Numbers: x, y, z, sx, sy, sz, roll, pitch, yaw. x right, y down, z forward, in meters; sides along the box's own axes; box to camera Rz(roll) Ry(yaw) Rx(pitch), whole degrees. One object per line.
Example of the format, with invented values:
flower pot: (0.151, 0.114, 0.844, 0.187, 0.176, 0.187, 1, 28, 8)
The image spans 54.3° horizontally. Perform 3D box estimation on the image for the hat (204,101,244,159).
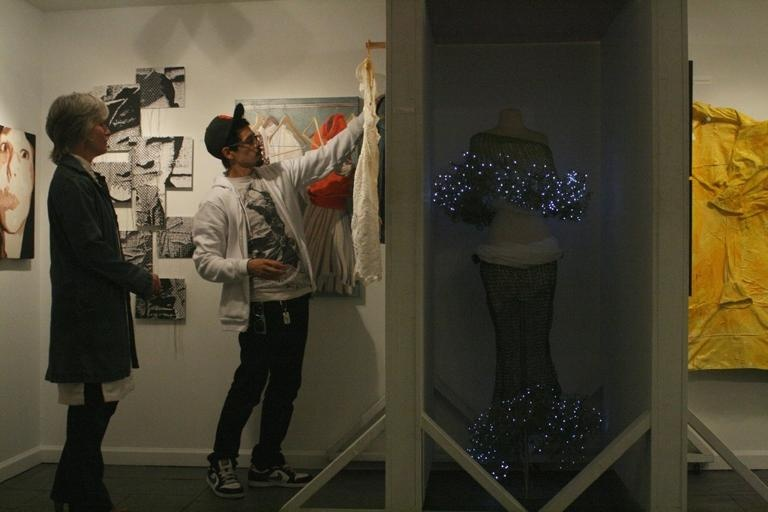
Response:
hat: (-0.999, -0.799, 4.759, 0.180, 0.388, 0.245, 24, 19, -12)

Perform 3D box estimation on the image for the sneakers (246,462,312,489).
sneakers: (-0.652, 1.380, 4.765, 0.432, 0.171, 0.143, 1, -8, -6)

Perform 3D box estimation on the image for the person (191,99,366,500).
person: (-0.713, 0.244, 4.681, 0.899, 2.386, 0.381, -1, 3, -11)

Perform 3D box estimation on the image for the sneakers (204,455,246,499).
sneakers: (-0.957, 1.361, 4.561, 0.129, 0.143, 0.326, 3, -6, -26)
